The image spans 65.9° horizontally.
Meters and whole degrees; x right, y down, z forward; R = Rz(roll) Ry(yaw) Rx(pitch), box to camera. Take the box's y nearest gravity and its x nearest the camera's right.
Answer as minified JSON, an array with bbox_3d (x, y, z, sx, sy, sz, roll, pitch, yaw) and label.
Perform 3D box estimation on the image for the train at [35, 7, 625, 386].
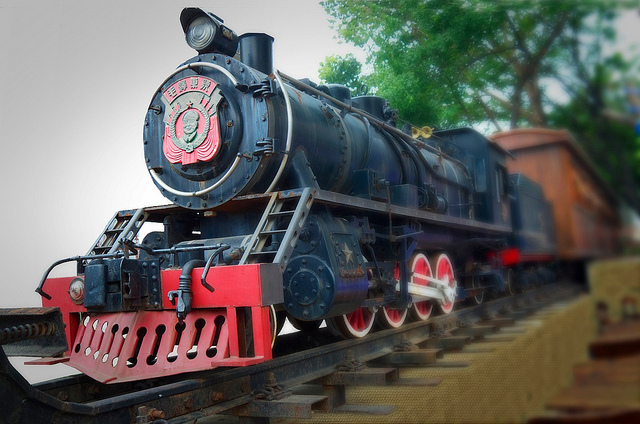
[{"bbox_3d":[2.525,0.219,10.005,3.574,4.105,13.680,-11,-11,32],"label":"train"}]

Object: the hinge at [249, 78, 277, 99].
[{"bbox_3d":[-0.592,-1.331,5.325,0.265,0.202,0.154,-2,13,19],"label":"hinge"}]
